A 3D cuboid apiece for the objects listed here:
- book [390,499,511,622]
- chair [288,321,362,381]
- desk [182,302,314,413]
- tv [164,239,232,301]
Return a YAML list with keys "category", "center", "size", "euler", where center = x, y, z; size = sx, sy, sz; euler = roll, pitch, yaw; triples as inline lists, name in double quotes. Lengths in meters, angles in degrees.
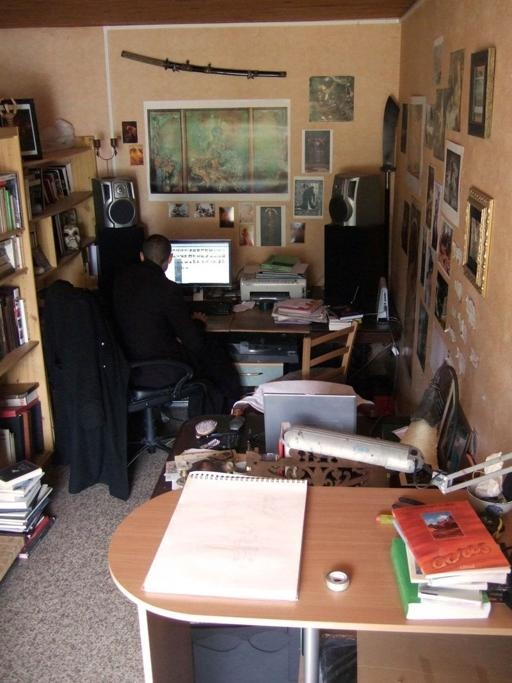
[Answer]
- category: "book"
  center: [0.338, 0.386, 0.936]
  size: [0.123, 0.059, 0.196]
  euler: [-2, 21, 5]
- category: "chair"
  center: [0.379, 0.044, 3.091]
  size: [0.244, 0.404, 0.248]
  euler: [-7, 46, -6]
- category: "desk"
  center: [-0.041, 0.251, 3.531]
  size: [0.828, 0.767, 0.578]
  euler: [-1, 31, -1]
- category: "tv"
  center: [-0.405, -0.511, 3.673]
  size: [0.493, 0.425, 0.101]
  euler: [1, 21, 0]
